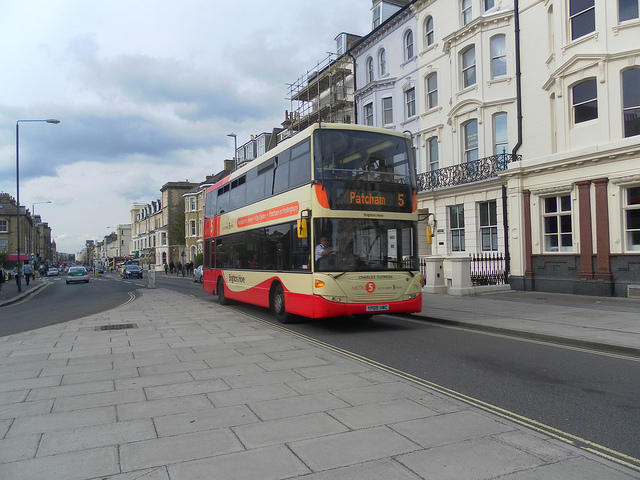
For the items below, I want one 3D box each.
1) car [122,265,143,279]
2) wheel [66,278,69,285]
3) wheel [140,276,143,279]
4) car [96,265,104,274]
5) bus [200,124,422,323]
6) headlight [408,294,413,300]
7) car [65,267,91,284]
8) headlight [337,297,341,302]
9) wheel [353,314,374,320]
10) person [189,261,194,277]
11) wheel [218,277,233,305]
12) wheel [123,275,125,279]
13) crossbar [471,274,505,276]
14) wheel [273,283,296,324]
[{"bbox_3d":[-20.101,3.521,56.001,1.193,1.022,2.696,2,-7,-31],"label":"car"},{"bbox_3d":[-22.509,3.794,46.649,0.196,0.648,0.577,6,1,-29],"label":"wheel"},{"bbox_3d":[-19.487,4.237,57.381,0.448,0.288,0.261,-6,-3,31],"label":"wheel"},{"bbox_3d":[-33.165,4.579,78.954,1.332,1.395,2.422,2,-6,-38],"label":"car"},{"bbox_3d":[-1.216,-0.166,17.787,3.069,5.370,10.768,0,-3,-27],"label":"bus"},{"bbox_3d":[2.320,1.478,13.251,0.090,0.102,0.029,15,-7,-31],"label":"headlight"},{"bbox_3d":[-21.258,3.134,45.802,1.560,1.141,0.910,-2,1,-22],"label":"car"},{"bbox_3d":[0.459,1.440,12.462,0.049,0.107,0.069,1,-10,-7],"label":"headlight"},{"bbox_3d":[1.244,2.217,14.857,0.430,0.165,0.459,0,-3,0],"label":"wheel"},{"bbox_3d":[-15.294,3.574,62.506,0.520,1.463,2.519,-1,1,-14],"label":"person"},{"bbox_3d":[-3.566,1.982,19.925,0.356,1.108,1.002,-1,-3,-20],"label":"wheel"},{"bbox_3d":[-21.788,4.305,58.163,0.176,0.374,0.191,-5,-22,-2],"label":"wheel"},{"bbox_3d":[7.013,1.516,21.984,1.459,0.043,0.259,-2,1,-14],"label":"crossbar"},{"bbox_3d":[-0.939,1.788,14.510,0.384,1.178,1.056,3,0,-25],"label":"wheel"}]
